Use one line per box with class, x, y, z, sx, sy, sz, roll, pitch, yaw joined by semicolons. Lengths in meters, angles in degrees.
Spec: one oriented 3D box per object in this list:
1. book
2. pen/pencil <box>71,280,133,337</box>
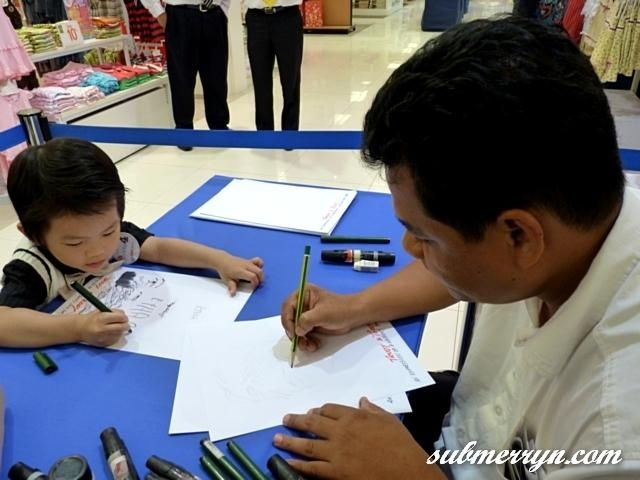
book;-0.126;-0.114;1.567;0.314;0.032;0.241;10;31;15
pen/pencil;-0.517;0.167;1.142;0.015;0.149;0.016;-34;21;26
